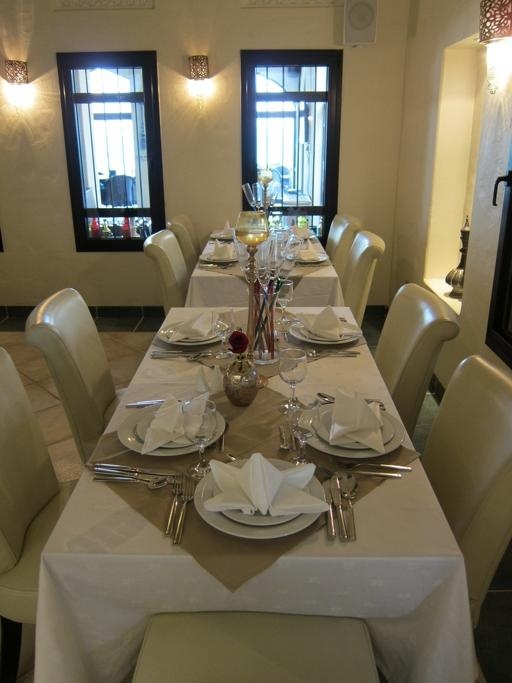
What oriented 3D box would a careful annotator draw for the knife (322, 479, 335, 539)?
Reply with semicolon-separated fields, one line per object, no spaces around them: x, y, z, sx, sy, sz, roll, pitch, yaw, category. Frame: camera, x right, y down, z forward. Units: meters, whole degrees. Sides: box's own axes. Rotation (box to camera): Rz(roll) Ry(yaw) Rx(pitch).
0.129;0.297;0.874;0.016;0.169;0.008;-7;36;6;knife

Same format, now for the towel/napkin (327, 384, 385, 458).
0.226;0.198;1.147;0.144;0.070;0.213;2;19;8;towel/napkin

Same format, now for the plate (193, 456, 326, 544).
0.011;0.226;0.849;0.150;0.069;0.156;17;28;33;plate

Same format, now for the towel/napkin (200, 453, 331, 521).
0.022;0.267;0.876;0.129;0.061;0.133;3;22;-5;towel/napkin

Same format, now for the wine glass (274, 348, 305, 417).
0.096;0.097;1.269;0.069;0.180;0.073;-5;22;-13;wine glass

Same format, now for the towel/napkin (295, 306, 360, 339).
0.277;-0.060;1.888;0.152;0.078;0.167;1;21;3;towel/napkin
